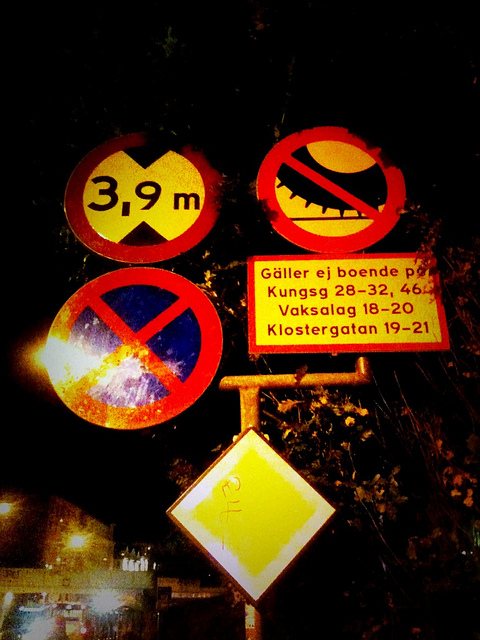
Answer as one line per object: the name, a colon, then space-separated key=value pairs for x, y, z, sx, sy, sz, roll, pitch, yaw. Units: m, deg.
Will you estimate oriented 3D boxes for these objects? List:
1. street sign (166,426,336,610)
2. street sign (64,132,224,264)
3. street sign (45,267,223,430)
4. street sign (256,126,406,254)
street sign: x=0.079 y=1.178 z=3.861 sx=0.837 sy=0.242 sz=0.940 roll=23 pitch=39 yaw=27
street sign: x=-0.710 y=-0.878 z=5.022 sx=1.001 sy=0.173 sz=1.272 roll=-15 pitch=56 yaw=-14
street sign: x=-0.693 y=0.158 z=4.470 sx=1.149 sy=0.159 sz=1.081 roll=0 pitch=61 yaw=0
street sign: x=0.686 y=-1.012 z=5.078 sx=1.146 sy=0.075 sz=1.206 roll=21 pitch=64 yaw=11
